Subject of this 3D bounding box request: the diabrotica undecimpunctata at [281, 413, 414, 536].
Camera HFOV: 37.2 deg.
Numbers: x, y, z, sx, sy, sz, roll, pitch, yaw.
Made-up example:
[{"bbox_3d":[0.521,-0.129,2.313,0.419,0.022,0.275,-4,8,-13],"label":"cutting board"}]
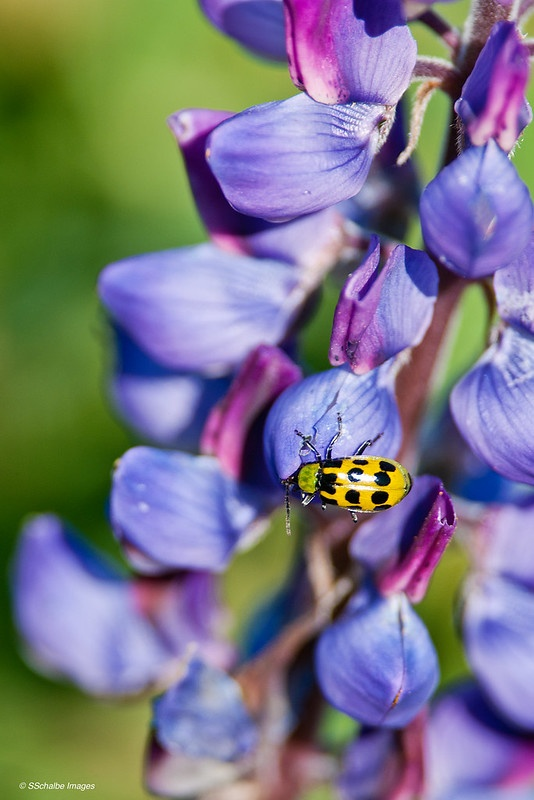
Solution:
[{"bbox_3d":[0.064,0.064,0.619,0.094,0.083,0.029,-3,33,-11],"label":"diabrotica undecimpunctata"}]
